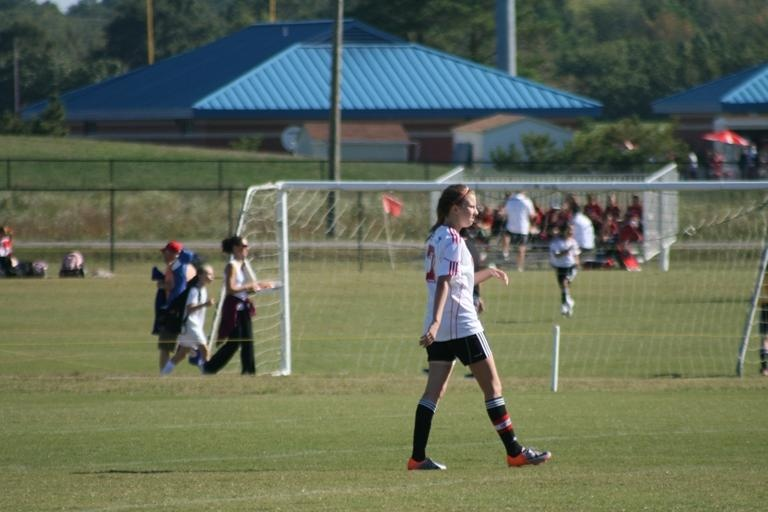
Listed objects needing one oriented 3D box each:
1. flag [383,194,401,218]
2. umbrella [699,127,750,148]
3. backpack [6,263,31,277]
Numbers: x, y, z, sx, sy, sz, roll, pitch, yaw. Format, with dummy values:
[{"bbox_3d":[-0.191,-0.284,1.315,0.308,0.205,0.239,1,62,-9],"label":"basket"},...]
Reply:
[{"bbox_3d":[0.327,-2.300,94.187,0.155,0.874,1.333,-9,14,-36],"label":"flag"},{"bbox_3d":[18.549,-6.391,108.193,2.335,0.887,5.843,1,3,10],"label":"umbrella"},{"bbox_3d":[-17.712,0.712,96.673,0.850,0.279,0.794,-5,4,4],"label":"backpack"}]
